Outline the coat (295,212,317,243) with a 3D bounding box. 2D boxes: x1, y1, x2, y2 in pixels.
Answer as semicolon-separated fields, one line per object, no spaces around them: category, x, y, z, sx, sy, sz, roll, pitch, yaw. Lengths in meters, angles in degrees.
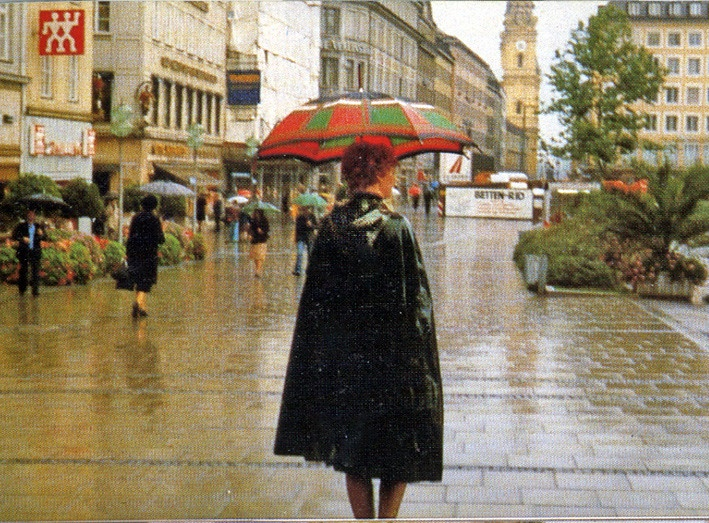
coat;-0.336;-0.241;9.311;0.167;0.260;0.141;1;-13;-1
